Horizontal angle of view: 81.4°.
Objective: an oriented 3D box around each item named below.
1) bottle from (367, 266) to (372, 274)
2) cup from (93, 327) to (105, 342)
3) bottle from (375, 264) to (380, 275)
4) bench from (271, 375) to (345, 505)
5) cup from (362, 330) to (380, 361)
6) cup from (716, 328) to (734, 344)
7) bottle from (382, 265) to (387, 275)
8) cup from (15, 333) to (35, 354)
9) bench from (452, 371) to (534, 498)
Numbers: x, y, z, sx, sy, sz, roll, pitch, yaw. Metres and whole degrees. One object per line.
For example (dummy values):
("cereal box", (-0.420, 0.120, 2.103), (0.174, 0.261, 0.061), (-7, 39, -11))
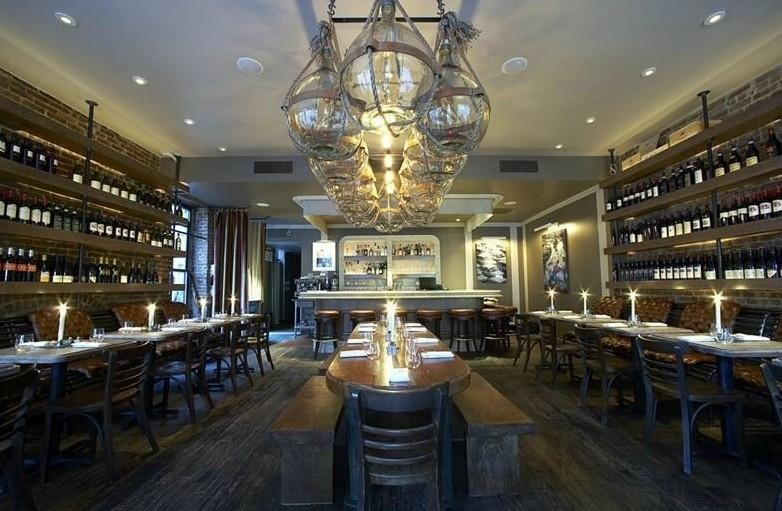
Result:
("bottle", (-0.547, 0.370, 11.881), (0.151, 0.205, 0.097), (-4, -6, 15))
("cup", (-3.570, 0.962, 5.550), (0.148, 0.140, 0.148), (1, -3, 0))
("bottle", (-0.320, 0.361, 11.855), (0.169, 0.288, 0.162), (1, -6, 0))
("bench", (-0.799, 1.865, 4.513), (0.450, 0.590, 1.348), (1, -3, 0))
("cup", (-0.204, 0.990, 4.848), (0.177, 0.352, 0.147), (-3, 15, 0))
("cup", (3.750, 0.895, 5.106), (0.168, 0.155, 0.160), (1, -7, 0))
("bottle", (-0.189, 0.355, 11.893), (0.170, 0.283, 0.051), (-3, -6, 1))
("cup", (-4.012, 0.954, 5.032), (0.207, 0.190, 0.199), (3, 1, 0))
("bench", (1.022, 1.850, 4.608), (0.433, 0.437, 1.269), (0, -6, 4))
